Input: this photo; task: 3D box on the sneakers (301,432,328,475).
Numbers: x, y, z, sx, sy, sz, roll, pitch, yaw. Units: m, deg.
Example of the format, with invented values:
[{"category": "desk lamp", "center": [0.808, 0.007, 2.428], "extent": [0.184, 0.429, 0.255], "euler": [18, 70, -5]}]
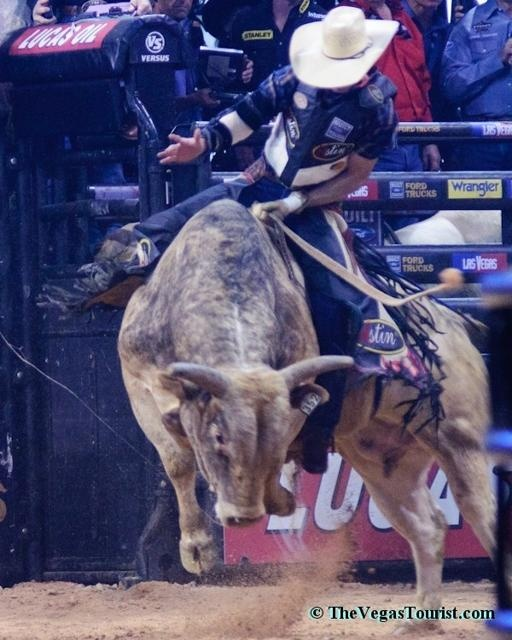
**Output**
[{"category": "sneakers", "center": [0.313, 0.738, 8.504], "extent": [0.179, 0.206, 0.093], "euler": [-2, -4, 35]}]

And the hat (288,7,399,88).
[{"category": "hat", "center": [0.439, -1.472, 8.374], "extent": [0.513, 0.522, 0.209], "euler": [-1, -32, 22]}]

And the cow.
[{"category": "cow", "center": [0.285, 0.563, 8.413], "extent": [2.001, 2.542, 1.058], "euler": [-18, 15, -39]}]
